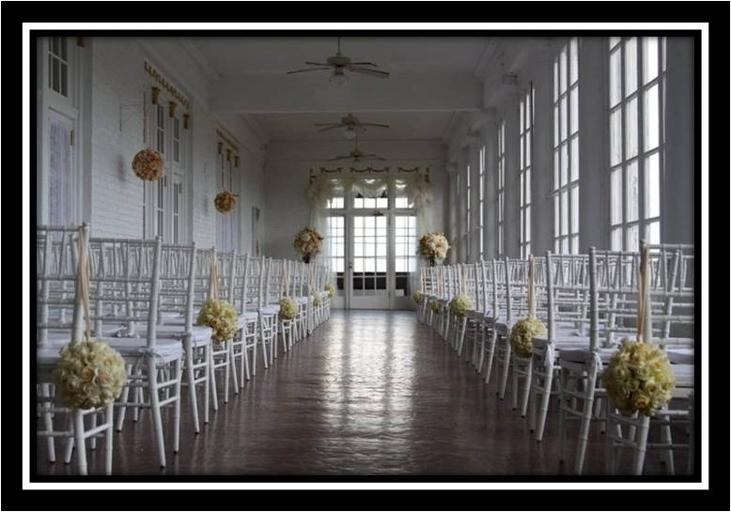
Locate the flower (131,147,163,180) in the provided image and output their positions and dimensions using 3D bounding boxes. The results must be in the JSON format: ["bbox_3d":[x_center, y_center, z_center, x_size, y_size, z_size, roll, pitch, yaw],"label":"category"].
[{"bbox_3d":[-2.786,-1.188,7.543,0.355,0.424,0.415,7,13,9],"label":"flower"}]

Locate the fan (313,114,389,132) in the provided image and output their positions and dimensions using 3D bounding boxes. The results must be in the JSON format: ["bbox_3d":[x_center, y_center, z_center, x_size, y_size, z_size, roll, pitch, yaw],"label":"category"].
[{"bbox_3d":[-0.304,-2.906,12.770,0.927,0.342,1.072,1,0,20],"label":"fan"}]

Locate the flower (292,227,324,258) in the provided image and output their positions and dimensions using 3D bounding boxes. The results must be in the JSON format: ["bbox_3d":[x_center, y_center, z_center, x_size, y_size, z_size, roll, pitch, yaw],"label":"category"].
[{"bbox_3d":[-1.316,-0.349,13.603,0.682,0.710,0.491,-17,-23,4],"label":"flower"}]

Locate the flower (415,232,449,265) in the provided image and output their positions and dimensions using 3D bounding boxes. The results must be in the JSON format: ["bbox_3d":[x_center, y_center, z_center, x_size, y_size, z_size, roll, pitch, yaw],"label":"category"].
[{"bbox_3d":[1.465,-0.166,13.011,0.683,0.781,0.743,4,7,30],"label":"flower"}]

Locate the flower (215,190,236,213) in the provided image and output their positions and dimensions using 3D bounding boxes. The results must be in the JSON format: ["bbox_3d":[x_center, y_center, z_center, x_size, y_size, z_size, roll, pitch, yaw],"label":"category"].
[{"bbox_3d":[-2.522,-0.993,10.789,0.349,0.250,0.402,-9,-25,22],"label":"flower"}]
